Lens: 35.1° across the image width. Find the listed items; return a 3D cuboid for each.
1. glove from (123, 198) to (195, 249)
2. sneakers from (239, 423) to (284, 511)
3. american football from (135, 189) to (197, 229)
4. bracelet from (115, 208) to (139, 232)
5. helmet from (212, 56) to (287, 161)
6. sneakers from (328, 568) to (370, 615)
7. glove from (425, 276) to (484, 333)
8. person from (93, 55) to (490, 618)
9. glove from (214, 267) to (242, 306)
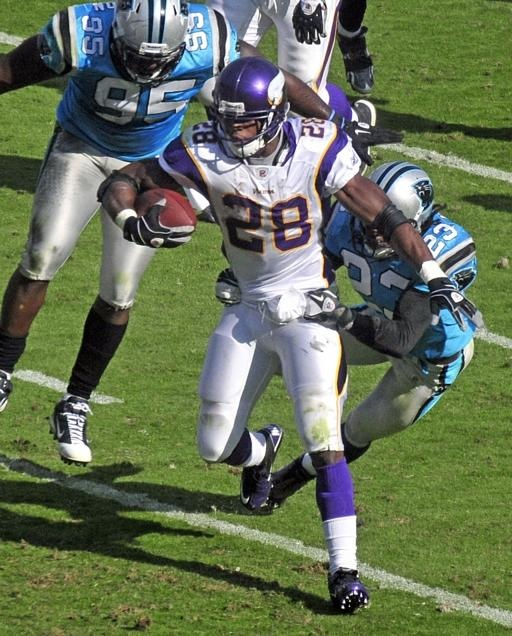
[{"bbox_3d":[-0.375,-0.378,3.188,0.271,0.203,0.196,7,11,-15],"label":"glove"},{"bbox_3d":[0.022,0.726,3.981,0.185,0.408,0.219,12,14,31],"label":"sneakers"},{"bbox_3d":[-0.355,-0.430,3.234,0.236,0.147,0.131,29,67,21],"label":"american football"},{"bbox_3d":[-0.512,-0.391,3.232,0.093,0.079,0.067,-36,34,-27],"label":"bracelet"},{"bbox_3d":[-0.021,-0.839,3.226,0.295,0.411,0.212,9,11,-13],"label":"helmet"},{"bbox_3d":[0.368,1.075,3.203,0.152,0.077,0.203,12,6,-3],"label":"sneakers"},{"bbox_3d":[0.759,-0.041,3.317,0.251,0.083,0.200,43,57,-14],"label":"glove"},{"bbox_3d":[0.062,0.014,3.423,1.499,2.137,0.749,14,11,12],"label":"person"},{"bbox_3d":[-0.123,-0.129,3.552,0.075,0.105,0.171,0,5,-14],"label":"glove"}]
